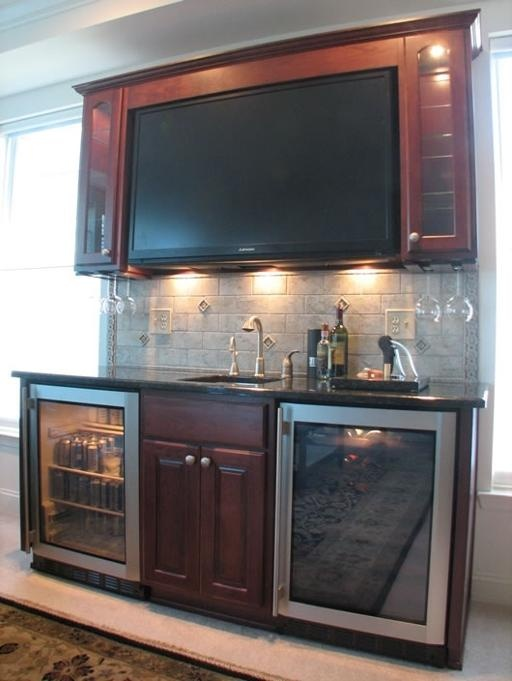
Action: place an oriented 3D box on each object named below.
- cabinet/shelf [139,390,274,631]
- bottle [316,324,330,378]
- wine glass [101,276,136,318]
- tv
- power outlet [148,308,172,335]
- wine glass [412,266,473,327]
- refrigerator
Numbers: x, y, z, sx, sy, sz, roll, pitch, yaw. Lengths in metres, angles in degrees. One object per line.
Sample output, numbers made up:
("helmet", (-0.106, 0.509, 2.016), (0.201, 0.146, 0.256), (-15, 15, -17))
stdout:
("cabinet/shelf", (-0.099, 0.576, 2.210), (0.596, 0.765, 0.460), (-3, -4, 39))
("bottle", (0.262, 0.038, 2.289), (0.047, 0.206, 0.141), (1, 3, 6))
("wine glass", (-0.696, -0.221, 2.924), (0.137, 0.224, 0.238), (1, -1, 9))
("tv", (0.049, -0.688, 2.326), (0.910, 0.525, 0.108), (1, 0, 24))
("power outlet", (-0.469, -0.096, 2.891), (0.134, 0.131, 0.013), (2, 1, 34))
("wine glass", (0.730, -0.170, 2.264), (0.232, 0.206, 0.103), (2, 1, 23))
("refrigerator", (-0.631, 0.562, 2.500), (0.605, 0.808, 0.430), (1, 3, 21))
